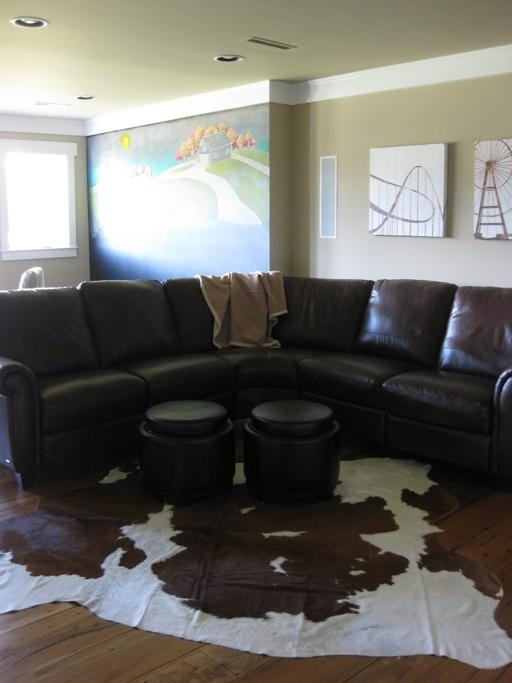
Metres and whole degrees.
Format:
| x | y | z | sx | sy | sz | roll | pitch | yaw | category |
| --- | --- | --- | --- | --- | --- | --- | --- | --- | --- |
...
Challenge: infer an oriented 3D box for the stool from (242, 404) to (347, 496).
| x | y | z | sx | sy | sz | roll | pitch | yaw | category |
| --- | --- | --- | --- | --- | --- | --- | --- | --- | --- |
| 0.161 | 0.430 | 2.386 | 0.386 | 0.316 | 0.374 | 0 | 5 | 1 | stool |

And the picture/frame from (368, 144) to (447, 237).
| x | y | z | sx | sy | sz | roll | pitch | yaw | category |
| --- | --- | --- | --- | --- | --- | --- | --- | --- | --- |
| 1.126 | -1.115 | 4.048 | 0.072 | 0.705 | 0.721 | -9 | 13 | -39 | picture/frame |

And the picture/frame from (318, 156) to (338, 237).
| x | y | z | sx | sy | sz | roll | pitch | yaw | category |
| --- | --- | --- | --- | --- | --- | --- | --- | --- | --- |
| 0.617 | -1.221 | 4.703 | 0.169 | 0.664 | 0.024 | 10 | 18 | 39 | picture/frame |

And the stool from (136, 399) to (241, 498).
| x | y | z | sx | sy | sz | roll | pitch | yaw | category |
| --- | --- | --- | --- | --- | --- | --- | --- | --- | --- |
| -0.288 | 0.438 | 2.455 | 0.392 | 0.332 | 0.381 | 0 | 5 | 7 | stool |
